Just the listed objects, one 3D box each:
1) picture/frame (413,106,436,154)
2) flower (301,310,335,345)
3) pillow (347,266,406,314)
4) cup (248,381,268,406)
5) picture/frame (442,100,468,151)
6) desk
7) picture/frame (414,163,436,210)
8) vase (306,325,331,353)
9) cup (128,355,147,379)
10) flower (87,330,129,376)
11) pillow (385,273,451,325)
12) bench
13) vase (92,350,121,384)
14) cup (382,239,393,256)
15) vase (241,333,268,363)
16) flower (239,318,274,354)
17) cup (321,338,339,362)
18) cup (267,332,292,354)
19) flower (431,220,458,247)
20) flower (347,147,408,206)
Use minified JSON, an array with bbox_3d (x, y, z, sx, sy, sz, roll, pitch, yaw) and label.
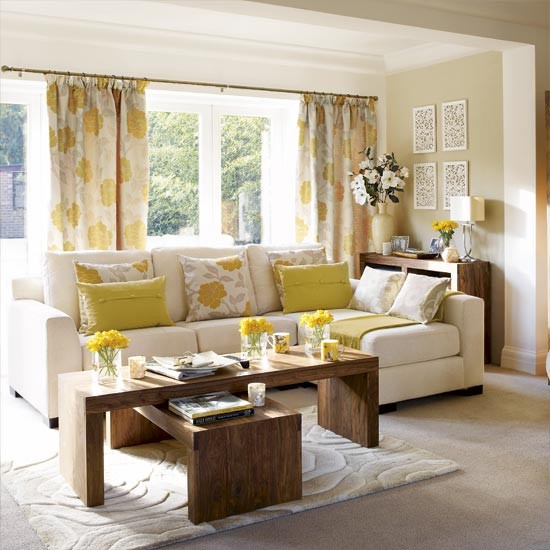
[{"bbox_3d":[1.432,-1.392,4.995,0.079,0.454,0.318,-1,1,-23],"label":"picture/frame"},{"bbox_3d":[0.224,0.271,2.744,0.155,0.175,0.185,0,1,7],"label":"flower"},{"bbox_3d":[0.778,0.117,3.922,0.106,0.348,0.357,25,-9,-35],"label":"pillow"},{"bbox_3d":[-0.071,0.490,2.139,0.075,0.086,0.087,0,0,1],"label":"cup"},{"bbox_3d":[1.618,-1.342,4.682,0.061,0.453,0.290,-1,1,-28],"label":"picture/frame"},{"bbox_3d":[1.105,0.250,3.700,0.275,0.695,0.910,1,0,-28],"label":"desk"},{"bbox_3d":[1.455,-0.862,5.037,0.063,0.456,0.306,-1,1,-27],"label":"picture/frame"},{"bbox_3d":[0.212,0.327,2.693,0.132,0.149,0.127,1,-1,-7],"label":"vase"},{"bbox_3d":[-0.581,0.395,2.232,0.084,0.100,0.085,0,-2,0],"label":"cup"},{"bbox_3d":[-0.692,0.310,2.199,0.190,0.205,0.168,0,0,-24],"label":"flower"},{"bbox_3d":[0.998,0.154,3.562,0.107,0.335,0.348,25,-8,-25],"label":"pillow"},{"bbox_3d":[-0.152,0.701,2.033,0.506,0.351,0.336,-1,1,-32],"label":"bench"},{"bbox_3d":[-0.694,0.398,2.156,0.108,0.168,0.114,14,-40,-32],"label":"vase"},{"bbox_3d":[1.080,-0.258,5.000,0.113,0.188,0.121,0,2,0],"label":"cup"},{"bbox_3d":[-0.102,0.360,2.535,0.119,0.133,0.122,1,-4,-4],"label":"vase"},{"bbox_3d":[-0.112,0.282,2.553,0.175,0.185,0.155,1,-1,-23],"label":"flower"},{"bbox_3d":[0.269,0.375,2.565,0.086,0.101,0.090,0,3,0],"label":"cup"},{"bbox_3d":[0.013,0.362,2.739,0.141,0.104,0.091,0,-1,-4],"label":"cup"},{"bbox_3d":[1.471,-0.356,4.578,0.234,0.267,0.237,-1,1,-7],"label":"flower"},{"bbox_3d":[0.997,-0.903,5.089,0.562,0.717,0.621,5,10,38],"label":"flower"}]
